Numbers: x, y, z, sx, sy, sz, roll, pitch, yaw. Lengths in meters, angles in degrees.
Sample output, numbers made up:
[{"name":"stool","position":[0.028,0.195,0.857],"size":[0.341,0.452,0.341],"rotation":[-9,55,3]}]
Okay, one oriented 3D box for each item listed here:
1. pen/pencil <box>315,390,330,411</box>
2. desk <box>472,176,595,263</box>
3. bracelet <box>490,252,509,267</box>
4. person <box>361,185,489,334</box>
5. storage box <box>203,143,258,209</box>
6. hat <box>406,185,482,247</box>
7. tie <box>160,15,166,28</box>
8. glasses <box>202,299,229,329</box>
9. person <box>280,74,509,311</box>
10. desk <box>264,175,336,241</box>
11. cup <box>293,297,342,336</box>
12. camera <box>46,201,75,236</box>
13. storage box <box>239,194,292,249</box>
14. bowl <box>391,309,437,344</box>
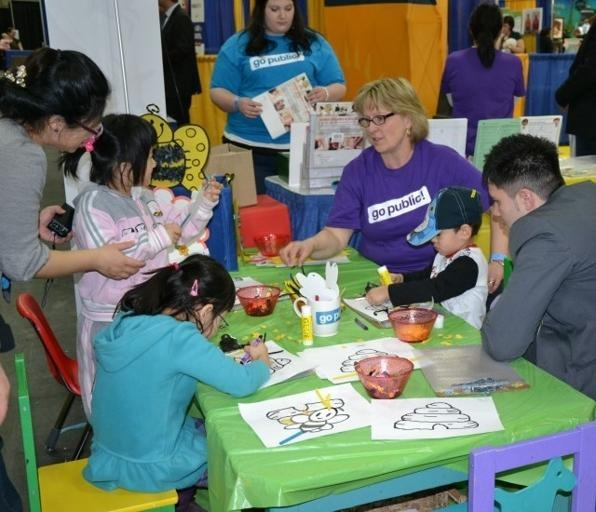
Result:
[{"name":"pen/pencil","position":[0.062,0.367,1.447],"size":[0.014,0.020,0.061],"rotation":[1,40,-32]},{"name":"desk","position":[1.413,-0.178,3.253],"size":[0.600,0.394,0.610],"rotation":[-9,11,-19]},{"name":"bracelet","position":[0.881,0.015,2.453],"size":[0.052,0.037,0.070],"rotation":[-4,14,-1]},{"name":"person","position":[0.434,-0.054,2.298],"size":[0.494,0.836,0.435],"rotation":[3,12,-2]},{"name":"storage box","position":[-0.316,-0.438,3.055],"size":[0.346,0.379,0.368],"rotation":[-8,13,-11]},{"name":"hat","position":[0.538,-0.165,2.072],"size":[0.300,0.176,0.196],"rotation":[-15,11,12]},{"name":"tie","position":[-1.074,-1.878,4.473],"size":[0.047,0.115,0.165],"rotation":[-4,19,-11]},{"name":"glasses","position":[-0.252,0.181,1.651],"size":[0.025,0.087,0.083],"rotation":[-21,-17,22]},{"name":"person","position":[0.435,-0.229,2.540],"size":[0.896,1.085,0.536],"rotation":[-5,18,14]},{"name":"desk","position":[0.002,-0.413,3.135],"size":[0.300,0.361,0.533],"rotation":[-7,27,-19]},{"name":"cup","position":[0.063,0.196,1.845],"size":[0.153,0.125,0.101],"rotation":[0,4,23]},{"name":"camera","position":[-0.864,-0.136,2.041],"size":[0.079,0.111,0.035],"rotation":[33,-7,-7]},{"name":"storage box","position":[-0.180,-0.183,2.907],"size":[0.227,0.183,0.239],"rotation":[-1,11,-5]},{"name":"bowl","position":[0.366,0.219,1.766],"size":[0.151,0.079,0.151],"rotation":[-3,11,1]}]
